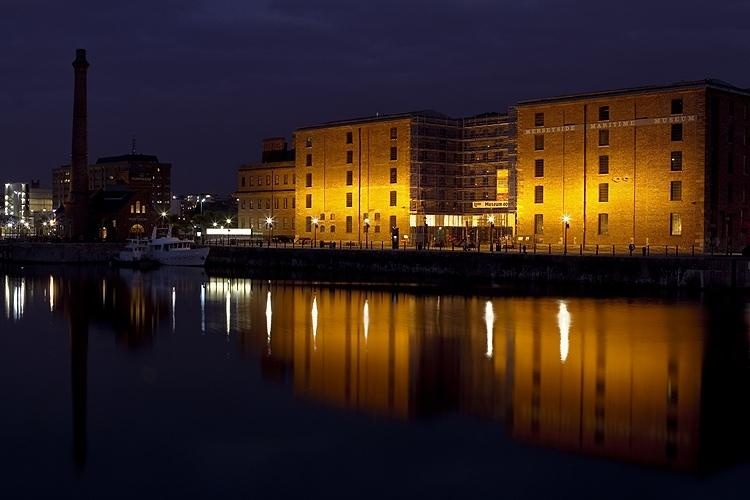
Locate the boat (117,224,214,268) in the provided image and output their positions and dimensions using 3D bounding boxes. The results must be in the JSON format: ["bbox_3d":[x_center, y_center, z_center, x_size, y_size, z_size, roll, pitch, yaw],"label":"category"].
[{"bbox_3d":[-27.928,0.088,114.751,15.078,5.617,5.025,-1,0,18],"label":"boat"}]
